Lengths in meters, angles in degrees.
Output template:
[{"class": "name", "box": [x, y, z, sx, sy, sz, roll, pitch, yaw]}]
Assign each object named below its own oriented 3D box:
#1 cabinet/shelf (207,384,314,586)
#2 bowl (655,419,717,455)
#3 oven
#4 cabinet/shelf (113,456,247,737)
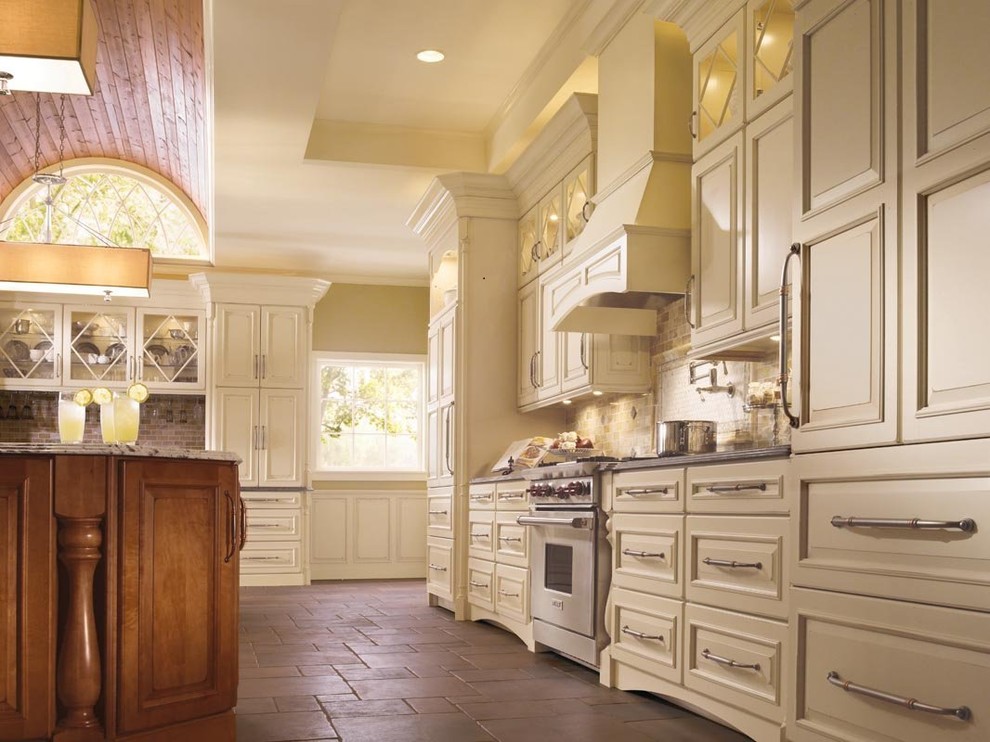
[{"class": "cabinet/shelf", "box": [-2.505, 1.123, 8.635, 1.015, 2.197, 0.700, 1, 9, -4]}, {"class": "bowl", "box": [0.920, 0.300, 3.734, 0.193, 0.121, 0.196, 0, -2, 0]}, {"class": "oven", "box": [0.475, 1.123, 4.261, 0.538, 0.761, 0.743, 5, -9, -21]}, {"class": "cabinet/shelf", "box": [-1.081, 0.771, 2.750, 0.153, 0.920, 0.525, -3, -6, 16]}]
